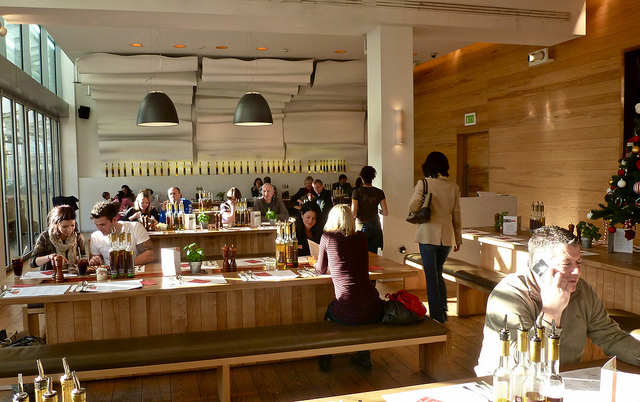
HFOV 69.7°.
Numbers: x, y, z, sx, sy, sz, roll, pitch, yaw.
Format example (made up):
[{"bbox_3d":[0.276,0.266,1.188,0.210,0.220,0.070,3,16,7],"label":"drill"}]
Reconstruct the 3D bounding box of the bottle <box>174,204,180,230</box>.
[{"bbox_3d":[-2.404,0.256,7.719,0.087,0.432,0.179,-5,1,-11],"label":"bottle"}]

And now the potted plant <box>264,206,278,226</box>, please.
[{"bbox_3d":[-0.837,0.270,7.819,0.260,0.313,0.277,1,-1,-24],"label":"potted plant"}]

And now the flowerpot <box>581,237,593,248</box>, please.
[{"bbox_3d":[3.526,0.549,6.075,0.120,0.095,0.126,0,-4,0],"label":"flowerpot"}]

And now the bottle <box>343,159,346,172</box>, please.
[{"bbox_3d":[0.708,-0.997,13.409,0.086,0.321,0.110,-4,1,2],"label":"bottle"}]

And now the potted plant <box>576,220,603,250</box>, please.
[{"bbox_3d":[3.611,0.431,6.161,0.315,0.336,0.357,-10,10,-29],"label":"potted plant"}]

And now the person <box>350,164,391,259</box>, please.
[{"bbox_3d":[0.736,0.400,7.475,0.613,1.961,0.600,-4,15,-22],"label":"person"}]

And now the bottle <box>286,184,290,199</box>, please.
[{"bbox_3d":[-0.918,-0.278,13.058,0.079,0.395,0.296,-5,1,-3],"label":"bottle"}]

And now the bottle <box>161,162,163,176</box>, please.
[{"bbox_3d":[-4.309,-0.890,12.518,0.043,0.367,0.077,-5,1,-37],"label":"bottle"}]

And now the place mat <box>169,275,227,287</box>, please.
[{"bbox_3d":[-1.305,0.848,4.907,0.576,0.112,0.337,-4,1,-16],"label":"place mat"}]

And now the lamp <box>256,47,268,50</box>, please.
[{"bbox_3d":[-1.302,-3.470,10.390,0.236,0.038,0.169,-4,1,1],"label":"lamp"}]

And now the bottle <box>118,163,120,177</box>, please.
[{"bbox_3d":[-5.464,-0.846,12.481,0.053,0.356,0.123,-5,1,-23],"label":"bottle"}]

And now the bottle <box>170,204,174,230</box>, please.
[{"bbox_3d":[-2.484,0.255,7.694,0.047,0.431,0.167,-5,1,-20],"label":"bottle"}]

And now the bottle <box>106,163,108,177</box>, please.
[{"bbox_3d":[-5.831,-0.868,12.577,0.054,0.396,0.179,-5,1,-26],"label":"bottle"}]

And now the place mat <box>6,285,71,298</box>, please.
[{"bbox_3d":[-2.841,0.906,4.629,0.563,0.064,0.307,-4,1,-13],"label":"place mat"}]

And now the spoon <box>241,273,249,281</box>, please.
[{"bbox_3d":[-0.825,0.829,5.027,0.057,0.072,0.284,-5,1,-17],"label":"spoon"}]

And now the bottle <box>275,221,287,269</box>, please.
[{"bbox_3d":[-0.468,0.527,5.403,0.128,0.544,0.136,-4,1,0],"label":"bottle"}]

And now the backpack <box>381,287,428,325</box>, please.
[{"bbox_3d":[0.861,1.082,4.854,0.361,0.148,0.381,-1,2,-6],"label":"backpack"}]

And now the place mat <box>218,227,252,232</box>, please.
[{"bbox_3d":[-1.424,0.461,7.693,0.512,0.068,0.343,-4,1,-13],"label":"place mat"}]

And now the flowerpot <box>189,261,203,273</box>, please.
[{"bbox_3d":[-1.404,0.742,5.188,0.122,0.089,0.121,3,-2,-44],"label":"flowerpot"}]

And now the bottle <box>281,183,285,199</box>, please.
[{"bbox_3d":[-1.041,-0.305,12.995,0.071,0.435,0.292,-5,1,-4],"label":"bottle"}]

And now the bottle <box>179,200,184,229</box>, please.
[{"bbox_3d":[-2.371,0.254,7.868,0.079,0.488,0.300,-5,1,-17],"label":"bottle"}]

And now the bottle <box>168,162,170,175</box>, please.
[{"bbox_3d":[-4.130,-0.883,12.544,0.039,0.326,0.079,-5,1,-27],"label":"bottle"}]

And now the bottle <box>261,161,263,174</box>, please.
[{"bbox_3d":[-1.647,-0.952,13.022,0.062,0.349,0.035,-5,1,-5],"label":"bottle"}]

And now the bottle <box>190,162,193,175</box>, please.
[{"bbox_3d":[-3.552,-0.893,12.700,0.068,0.327,0.103,-5,1,-14],"label":"bottle"}]

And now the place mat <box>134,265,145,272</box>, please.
[{"bbox_3d":[-2.092,0.784,5.328,0.110,0.074,0.304,-5,1,-21],"label":"place mat"}]

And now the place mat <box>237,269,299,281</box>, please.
[{"bbox_3d":[-0.565,0.825,5.065,0.627,0.107,0.302,-4,1,-13],"label":"place mat"}]

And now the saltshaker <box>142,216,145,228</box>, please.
[{"bbox_3d":[-2.890,0.323,7.532,0.032,0.165,0.072,-5,1,-20],"label":"saltshaker"}]

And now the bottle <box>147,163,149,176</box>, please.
[{"bbox_3d":[-4.645,-0.849,12.422,0.053,0.343,0.123,-5,1,-21],"label":"bottle"}]

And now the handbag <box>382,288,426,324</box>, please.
[{"bbox_3d":[0.858,1.126,4.856,0.350,0.130,0.375,-1,0,-4],"label":"handbag"}]

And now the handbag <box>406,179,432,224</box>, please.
[{"bbox_3d":[1.288,0.006,5.950,0.328,0.528,0.157,-4,1,10],"label":"handbag"}]

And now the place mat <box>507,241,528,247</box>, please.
[{"bbox_3d":[2.801,0.604,6.477,0.229,0.060,0.285,-4,1,23],"label":"place mat"}]
